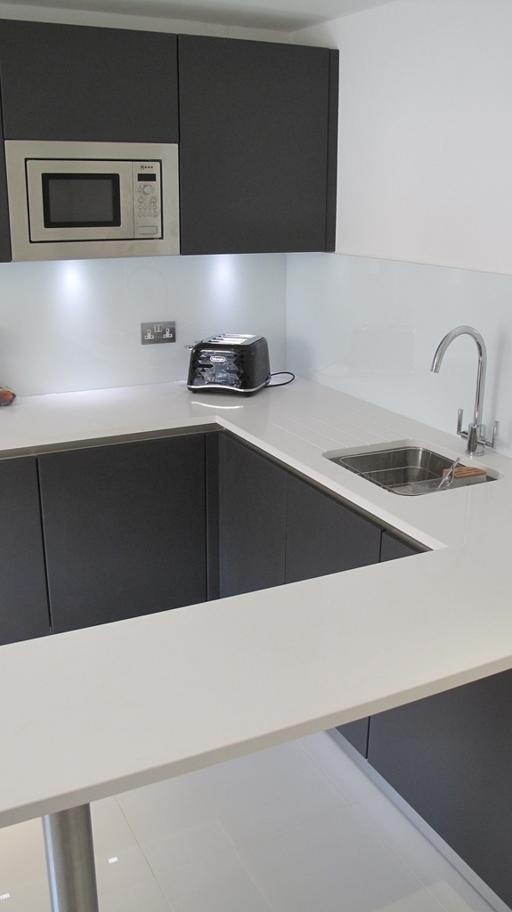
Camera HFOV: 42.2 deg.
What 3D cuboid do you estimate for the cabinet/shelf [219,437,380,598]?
[{"bbox_3d":[0.139,0.163,1.983,0.227,0.327,0.443,-8,22,-24],"label":"cabinet/shelf"}]

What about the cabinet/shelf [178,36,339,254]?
[{"bbox_3d":[-0.005,-1.280,2.914,0.615,1.036,0.866,-2,33,-4],"label":"cabinet/shelf"}]

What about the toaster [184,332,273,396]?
[{"bbox_3d":[-0.104,-0.405,2.864,0.312,0.223,0.339,4,20,9],"label":"toaster"}]
